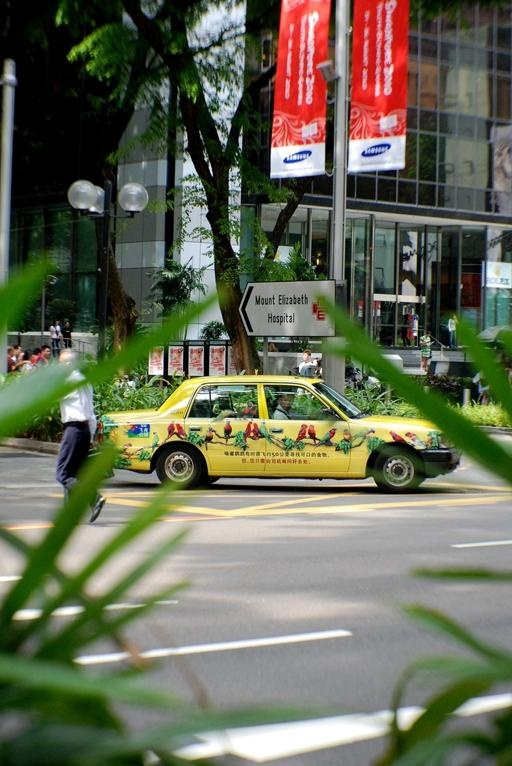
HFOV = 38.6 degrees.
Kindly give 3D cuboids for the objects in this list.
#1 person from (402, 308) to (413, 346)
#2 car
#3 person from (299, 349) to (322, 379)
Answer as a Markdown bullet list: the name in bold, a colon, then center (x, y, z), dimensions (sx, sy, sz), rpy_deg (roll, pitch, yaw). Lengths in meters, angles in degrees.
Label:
- **person**: center (7.253, -2.689, 35.212), dimensions (0.538, 1.463, 0.491), rpy_deg (1, 0, 9)
- **car**: center (0.164, 0.748, 10.309), dimensions (4.677, 1.438, 1.959), rpy_deg (-1, 1, 5)
- **person**: center (1.558, -0.548, 21.439), dimensions (0.601, 0.893, 0.400), rpy_deg (1, 4, -3)
